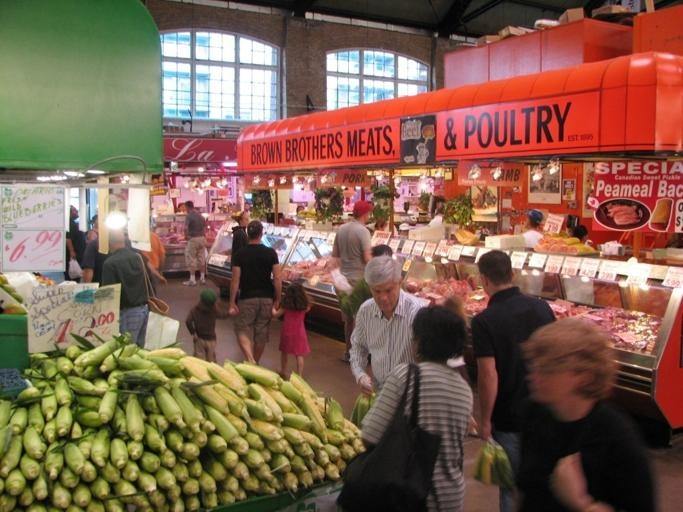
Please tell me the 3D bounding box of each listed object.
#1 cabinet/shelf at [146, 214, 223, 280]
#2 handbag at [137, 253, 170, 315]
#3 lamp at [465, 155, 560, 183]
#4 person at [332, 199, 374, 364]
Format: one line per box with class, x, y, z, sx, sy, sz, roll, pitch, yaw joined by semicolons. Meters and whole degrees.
cabinet/shelf;-3.632;-0.158;12.144;0.592;1.794;0.566;2;4;33
handbag;-1.863;0.340;5.199;0.226;0.502;0.169;-12;7;-22
lamp;2.392;-1.107;6.994;0.955;0.339;1.988;7;12;35
person;0.260;0.370;7.301;0.569;2.271;0.682;-8;12;-40
